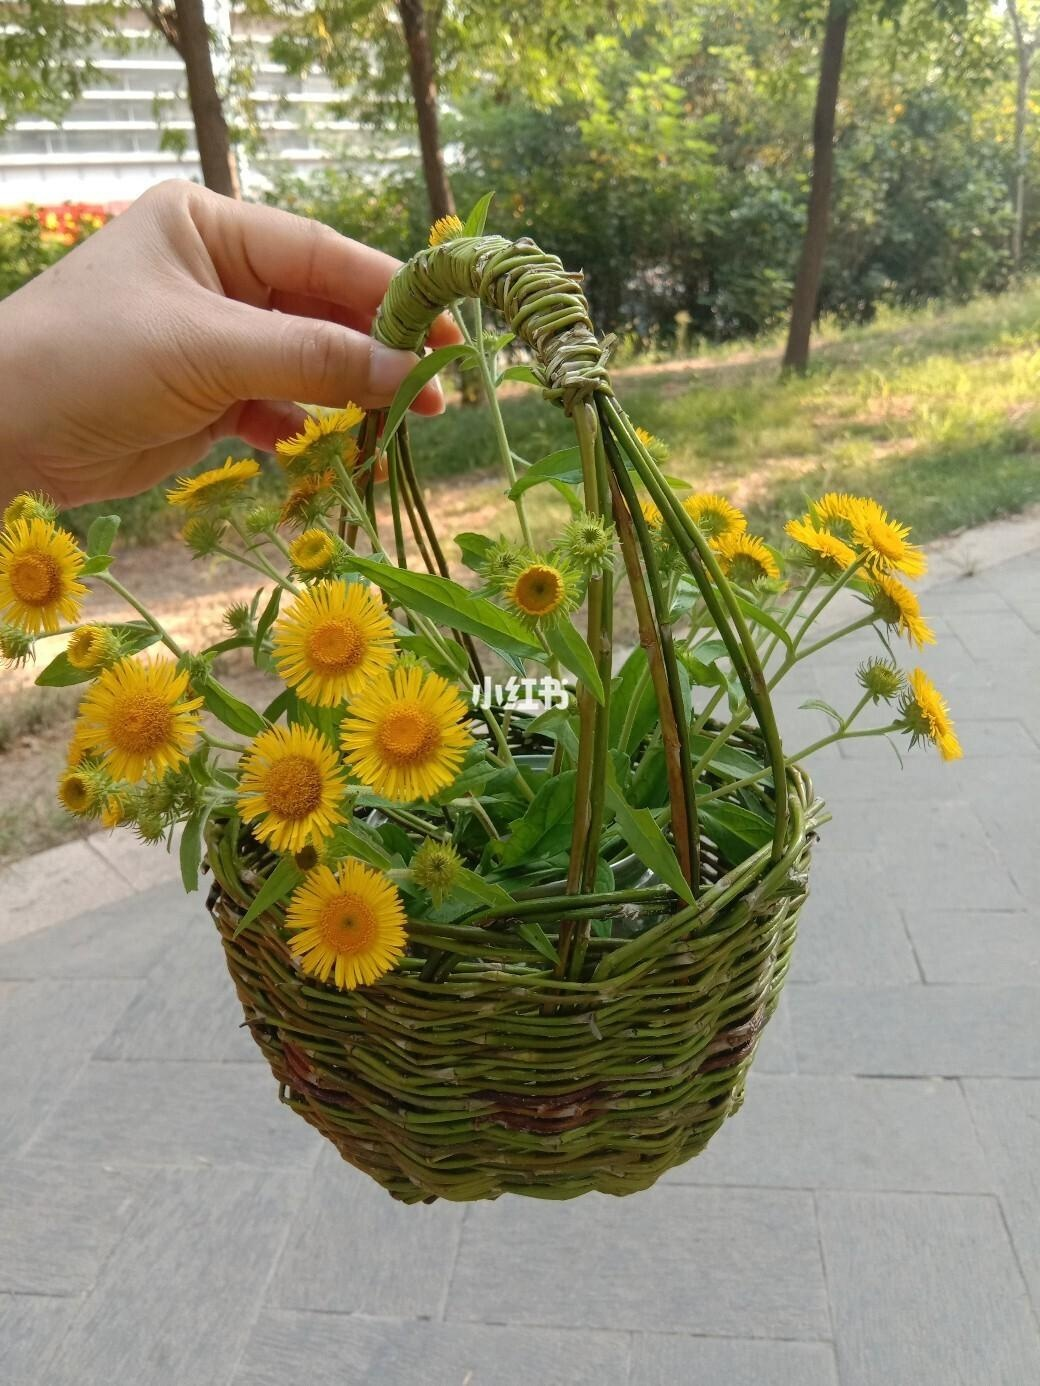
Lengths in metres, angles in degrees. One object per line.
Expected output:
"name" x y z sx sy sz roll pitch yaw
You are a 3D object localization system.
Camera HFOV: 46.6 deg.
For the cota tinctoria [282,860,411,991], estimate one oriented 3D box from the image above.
"cota tinctoria" -0.091 0.122 0.620 0.053 0.064 0.059 -16 30 -29
